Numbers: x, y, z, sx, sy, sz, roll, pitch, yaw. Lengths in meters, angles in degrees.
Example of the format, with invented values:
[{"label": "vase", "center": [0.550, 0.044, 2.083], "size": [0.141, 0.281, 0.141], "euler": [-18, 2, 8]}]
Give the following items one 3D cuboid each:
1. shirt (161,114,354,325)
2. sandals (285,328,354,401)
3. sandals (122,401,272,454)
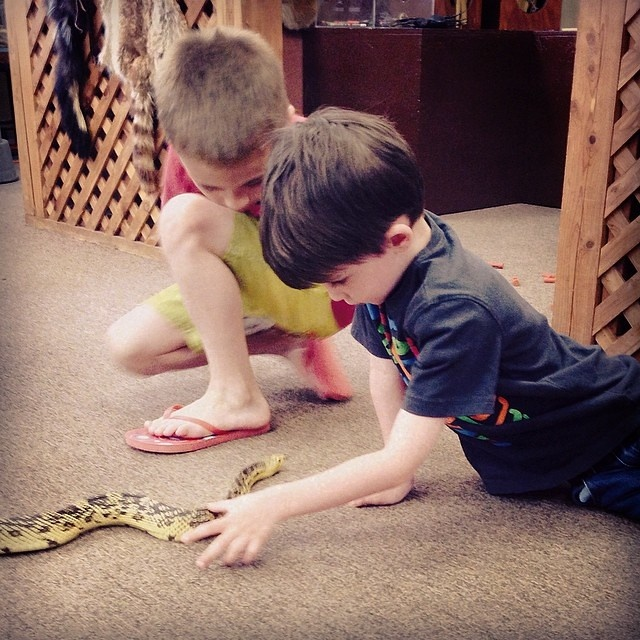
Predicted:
[{"label": "shirt", "center": [-0.125, -0.309, 1.910], "size": [0.648, 0.522, 0.263], "euler": [13, 20, 32]}, {"label": "sandals", "center": [-0.008, 0.125, 1.836], "size": [0.150, 0.195, 0.076], "euler": [-31, -9, -13]}, {"label": "sandals", "center": [-0.283, 0.249, 1.529], "size": [0.258, 0.047, 0.114], "euler": [0, 4, -23]}]
